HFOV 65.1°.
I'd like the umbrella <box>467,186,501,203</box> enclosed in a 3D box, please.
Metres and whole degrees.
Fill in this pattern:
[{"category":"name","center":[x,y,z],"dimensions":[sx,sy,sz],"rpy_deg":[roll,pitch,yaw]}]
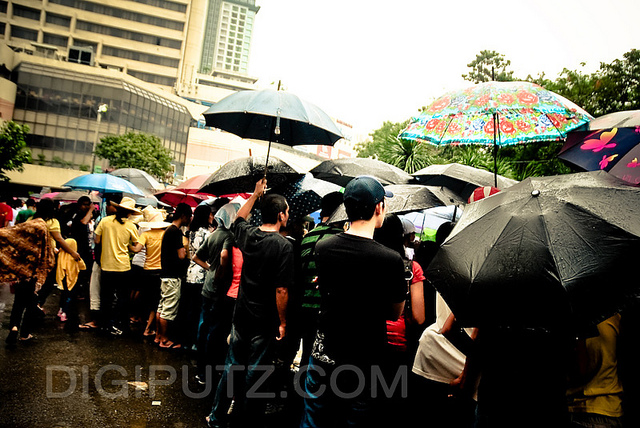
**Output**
[{"category":"umbrella","center":[1.688,-0.214,5.208],"dimensions":[0.213,0.073,0.228],"rpy_deg":[-26,10,-2]}]

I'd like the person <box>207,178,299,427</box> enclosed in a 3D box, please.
[{"category":"person","center":[-0.720,1.108,5.585],"dimensions":[0.801,2.549,0.399],"rpy_deg":[7,1,29]}]

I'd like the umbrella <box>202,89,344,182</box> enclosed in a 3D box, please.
[{"category":"umbrella","center":[-0.606,-1.261,6.531],"dimensions":[1.745,0.962,1.145],"rpy_deg":[7,2,15]}]

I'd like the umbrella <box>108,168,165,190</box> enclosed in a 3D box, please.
[{"category":"umbrella","center":[-4.630,-0.917,12.610],"dimensions":[0.753,0.299,0.744],"rpy_deg":[10,-1,-33]}]

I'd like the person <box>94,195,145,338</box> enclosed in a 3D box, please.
[{"category":"person","center":[-3.674,0.894,9.069],"dimensions":[0.777,2.157,1.250],"rpy_deg":[6,1,-20]}]

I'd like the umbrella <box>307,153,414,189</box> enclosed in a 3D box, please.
[{"category":"umbrella","center":[0.282,-0.603,7.564],"dimensions":[0.768,0.251,0.770],"rpy_deg":[8,-10,26]}]

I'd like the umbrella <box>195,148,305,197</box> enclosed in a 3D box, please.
[{"category":"umbrella","center":[-0.911,-0.503,6.741],"dimensions":[0.863,0.439,0.846],"rpy_deg":[5,-15,-40]}]

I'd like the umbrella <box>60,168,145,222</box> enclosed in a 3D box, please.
[{"category":"umbrella","center":[-4.198,-0.412,9.712],"dimensions":[0.771,0.534,0.765],"rpy_deg":[4,-9,7]}]

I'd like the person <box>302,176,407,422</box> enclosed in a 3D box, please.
[{"category":"person","center":[0.320,0.784,4.441],"dimensions":[0.823,2.125,0.339],"rpy_deg":[7,1,1]}]
